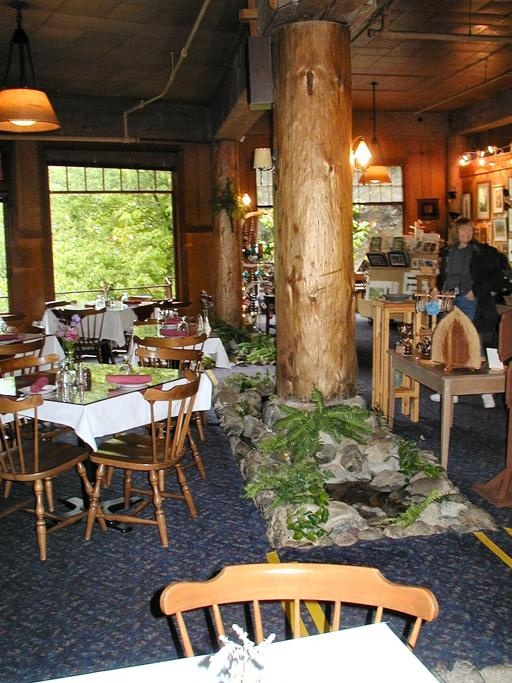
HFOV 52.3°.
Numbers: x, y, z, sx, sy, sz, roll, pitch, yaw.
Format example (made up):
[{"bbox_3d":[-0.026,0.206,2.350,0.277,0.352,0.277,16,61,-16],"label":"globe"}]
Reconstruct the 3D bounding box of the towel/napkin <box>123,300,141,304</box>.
[{"bbox_3d":[-1.969,-0.628,8.292,0.157,0.051,0.147,-4,1,22],"label":"towel/napkin"}]

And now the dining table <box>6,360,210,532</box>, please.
[{"bbox_3d":[-0.877,0.452,3.525,1.153,0.516,1.146,10,19,36],"label":"dining table"}]

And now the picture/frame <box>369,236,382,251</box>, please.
[{"bbox_3d":[2.542,-2.087,11.144,0.031,0.398,0.377,-10,16,-41],"label":"picture/frame"}]

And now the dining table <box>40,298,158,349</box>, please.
[{"bbox_3d":[-2.218,-0.285,7.354,1.072,0.384,1.026,1,6,15],"label":"dining table"}]

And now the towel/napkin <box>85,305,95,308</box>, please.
[{"bbox_3d":[-2.519,-0.534,7.944,0.105,0.048,0.141,0,1,-13],"label":"towel/napkin"}]

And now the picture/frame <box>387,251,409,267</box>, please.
[{"bbox_3d":[2.804,-1.644,10.335,0.332,0.295,0.120,3,11,44],"label":"picture/frame"}]

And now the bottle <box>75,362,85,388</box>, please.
[{"bbox_3d":[-1.094,0.222,3.270,0.061,0.171,0.268,-5,6,-19],"label":"bottle"}]

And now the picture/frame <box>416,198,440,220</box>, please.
[{"bbox_3d":[4.301,-3.368,13.217,0.639,0.542,0.079,-1,4,-10],"label":"picture/frame"}]

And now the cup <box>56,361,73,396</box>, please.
[{"bbox_3d":[-1.176,0.232,3.224,0.097,0.191,0.366,-5,6,-20],"label":"cup"}]

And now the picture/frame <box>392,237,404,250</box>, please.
[{"bbox_3d":[2.925,-2.020,10.757,0.229,0.268,0.289,-3,6,-10],"label":"picture/frame"}]

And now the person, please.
[{"bbox_3d":[2.074,-0.371,5.214,0.601,1.718,0.580,11,38,39],"label":"person"}]
